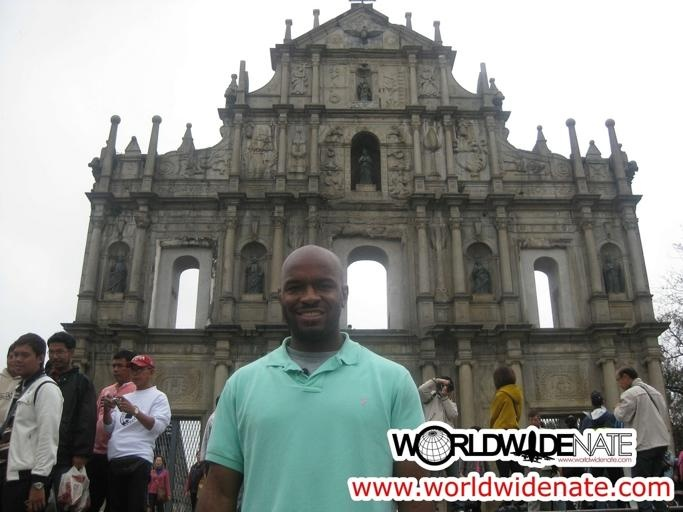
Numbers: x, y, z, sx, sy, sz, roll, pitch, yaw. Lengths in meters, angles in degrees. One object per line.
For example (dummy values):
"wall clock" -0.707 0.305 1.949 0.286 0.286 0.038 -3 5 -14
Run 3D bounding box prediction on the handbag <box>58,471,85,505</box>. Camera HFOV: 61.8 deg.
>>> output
"handbag" -2.886 2.454 6.084 0.254 0.368 0.163 8 -18 -24

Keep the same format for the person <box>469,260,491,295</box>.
"person" 4.892 0.742 19.973 0.722 1.193 0.258 2 -16 -7

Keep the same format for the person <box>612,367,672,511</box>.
"person" 4.558 2.683 8.575 0.712 2.076 1.299 -7 -18 25

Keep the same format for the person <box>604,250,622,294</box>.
"person" 9.580 0.574 20.194 0.640 1.541 0.438 -1 -16 6

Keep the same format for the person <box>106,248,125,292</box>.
"person" -7.899 0.494 20.038 0.718 1.595 0.297 -5 -17 19

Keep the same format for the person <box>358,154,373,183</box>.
"person" 0.918 -3.362 21.728 0.540 1.592 0.518 0 -16 3

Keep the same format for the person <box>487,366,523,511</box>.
"person" 2.462 2.440 8.487 0.460 1.658 1.273 -5 -17 16

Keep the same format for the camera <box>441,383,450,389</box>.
"camera" 1.624 1.996 8.826 0.145 0.099 0.079 0 1 -6
